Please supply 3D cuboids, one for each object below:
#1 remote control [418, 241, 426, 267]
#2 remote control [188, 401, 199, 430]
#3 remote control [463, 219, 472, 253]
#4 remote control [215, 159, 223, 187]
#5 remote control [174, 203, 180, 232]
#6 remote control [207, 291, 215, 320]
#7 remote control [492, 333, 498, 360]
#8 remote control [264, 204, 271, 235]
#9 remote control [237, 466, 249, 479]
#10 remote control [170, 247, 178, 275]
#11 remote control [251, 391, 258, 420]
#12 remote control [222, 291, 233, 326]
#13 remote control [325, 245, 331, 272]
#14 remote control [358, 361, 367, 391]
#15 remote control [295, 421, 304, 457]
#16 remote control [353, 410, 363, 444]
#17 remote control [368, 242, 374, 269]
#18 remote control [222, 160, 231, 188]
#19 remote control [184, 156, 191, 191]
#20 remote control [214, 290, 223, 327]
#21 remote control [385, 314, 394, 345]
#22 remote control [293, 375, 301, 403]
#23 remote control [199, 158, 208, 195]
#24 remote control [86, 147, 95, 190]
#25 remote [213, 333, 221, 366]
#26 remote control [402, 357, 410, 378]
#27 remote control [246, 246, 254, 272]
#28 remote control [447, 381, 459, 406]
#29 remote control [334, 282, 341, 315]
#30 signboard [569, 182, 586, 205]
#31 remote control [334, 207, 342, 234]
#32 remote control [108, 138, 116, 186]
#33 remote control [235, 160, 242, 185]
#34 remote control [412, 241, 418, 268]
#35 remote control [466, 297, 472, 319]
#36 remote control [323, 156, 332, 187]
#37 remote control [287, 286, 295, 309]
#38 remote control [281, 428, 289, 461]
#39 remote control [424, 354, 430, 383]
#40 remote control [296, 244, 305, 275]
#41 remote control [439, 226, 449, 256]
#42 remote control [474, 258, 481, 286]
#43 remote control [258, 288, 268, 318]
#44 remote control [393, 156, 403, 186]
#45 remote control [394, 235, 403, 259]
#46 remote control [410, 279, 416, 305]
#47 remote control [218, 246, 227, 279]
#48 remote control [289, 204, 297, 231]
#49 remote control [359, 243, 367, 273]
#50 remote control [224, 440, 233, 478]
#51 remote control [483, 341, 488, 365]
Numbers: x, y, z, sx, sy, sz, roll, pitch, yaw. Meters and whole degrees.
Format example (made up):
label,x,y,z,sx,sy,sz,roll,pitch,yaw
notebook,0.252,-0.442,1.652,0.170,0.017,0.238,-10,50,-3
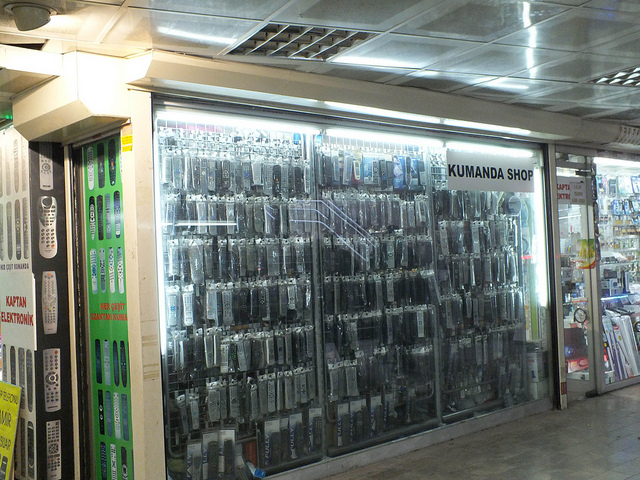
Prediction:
label,x,y,z,sx,sy,sz,roll,pitch,yaw
remote control,1.074,0.150,6.198,0.102,0.261,0.032,-2,-6,-37
remote control,-1.075,1.465,4.957,0.092,0.233,0.017,-1,-6,-43
remote control,1.646,-0.046,6.558,0.139,0.369,0.050,-1,-6,-39
remote control,-0.901,-0.584,5.175,0.069,0.235,0.023,-4,-5,-17
remote control,-1.222,-0.243,4.975,0.046,0.138,0.012,-1,-6,-44
remote control,-0.955,0.560,5.088,0.068,0.242,0.029,-1,-6,-40
remote control,2.003,1.199,6.701,0.090,0.289,0.026,-2,-6,-37
remote control,-0.485,-0.192,5.369,0.070,0.269,0.013,-2,-5,-30
remote control,-0.687,2.008,5.110,0.078,0.149,0.079,-17,-2,-11
remote control,-1.237,0.171,4.924,0.073,0.218,0.027,-3,-5,-22
remote control,-0.595,1.462,5.240,0.066,0.241,0.019,-1,-6,-39
remote control,-0.823,0.591,5.164,0.088,0.293,0.041,-1,-6,-42
remote control,0.070,0.175,5.661,0.075,0.258,0.024,-2,-6,-36
remote control,0.417,1.324,5.776,0.102,0.268,0.020,-2,-6,-33
remote control,-0.203,1.822,5.413,0.088,0.322,0.031,-4,-5,-12
remote control,0.362,1.793,5.699,0.121,0.309,0.018,-3,-5,-25
remote control,0.512,0.151,5.898,0.072,0.255,0.018,-3,-5,-28
remote control,-0.843,-0.585,5.204,0.070,0.242,0.032,-1,-6,-39
remote control,-1.147,-0.569,5.037,0.064,0.282,0.030,-1,-6,-40
remote control,-0.893,0.589,5.127,0.067,0.315,0.036,-3,-5,-28
remote control,0.700,0.894,5.949,0.091,0.297,0.029,-2,-6,-33
remote control,-0.225,1.366,5.442,0.073,0.247,0.018,-2,-6,-33
remote control,-1.021,-0.547,5.107,0.077,0.302,0.034,-1,-6,-39
remote control,-2.034,-0.626,5.170,0.113,0.364,0.015,-10,-7,44
remote,-0.904,0.945,5.098,0.084,0.272,0.018,-1,-6,-40
remote control,0.883,1.293,6.023,0.078,0.200,0.020,-2,-6,-36
remote control,-0.634,0.163,5.274,0.069,0.219,0.016,-2,-5,-31
remote control,1.423,1.636,6.304,0.141,0.266,0.013,-2,-6,-36
remote control,0.160,0.562,5.696,0.073,0.307,0.023,-3,-5,-24
signboard,3.283,-0.600,7.500,0.279,0.286,0.029,3,-5,-38
remote control,0.168,-0.183,5.733,0.071,0.244,0.027,-1,-6,-40
remote control,-1.774,-0.653,4.975,0.028,0.381,0.118,0,-7,-44
remote control,-0.740,-0.605,5.262,0.064,0.216,0.027,-1,-6,-38
remote control,0.998,0.148,6.159,0.048,0.275,0.022,-2,-6,-34
remote control,1.665,0.750,6.537,0.084,0.234,0.020,-2,-6,-36
remote control,0.070,-0.666,5.679,0.093,0.278,0.046,-2,-6,-35
remote control,-0.275,0.528,5.449,0.077,0.209,0.023,-1,-6,-39
remote control,-0.326,1.844,5.346,0.087,0.286,0.028,-2,-5,-31
remote control,1.123,1.333,6.147,0.066,0.282,0.023,-1,-6,-42
remote control,-0.195,0.176,5.514,0.087,0.274,0.032,-1,-6,-39
remote control,1.347,0.004,6.381,0.125,0.311,0.029,-1,-6,-38
remote control,1.777,0.354,6.617,0.098,0.308,0.030,-1,-6,-39
remote control,-0.527,0.562,5.322,0.079,0.262,0.026,-2,-6,-35
remote control,0.806,-0.720,6.095,0.109,0.292,0.031,-2,-6,-37
remote control,0.808,0.070,6.060,0.114,0.243,0.023,-2,-6,-33
remote control,0.970,0.532,6.119,0.080,0.252,0.026,-1,-6,-41
remote control,-0.861,0.201,5.158,0.075,0.272,0.033,-1,-6,-39
remote control,-0.259,-0.210,5.487,0.075,0.245,0.015,-2,-6,-33
remote control,0.424,0.172,5.850,0.095,0.286,0.030,-2,-6,-35
remote control,-0.796,1.865,5.057,0.083,0.309,0.024,-4,-5,-12
remote control,1.870,1.257,6.617,0.074,0.248,0.018,-1,-6,-42
